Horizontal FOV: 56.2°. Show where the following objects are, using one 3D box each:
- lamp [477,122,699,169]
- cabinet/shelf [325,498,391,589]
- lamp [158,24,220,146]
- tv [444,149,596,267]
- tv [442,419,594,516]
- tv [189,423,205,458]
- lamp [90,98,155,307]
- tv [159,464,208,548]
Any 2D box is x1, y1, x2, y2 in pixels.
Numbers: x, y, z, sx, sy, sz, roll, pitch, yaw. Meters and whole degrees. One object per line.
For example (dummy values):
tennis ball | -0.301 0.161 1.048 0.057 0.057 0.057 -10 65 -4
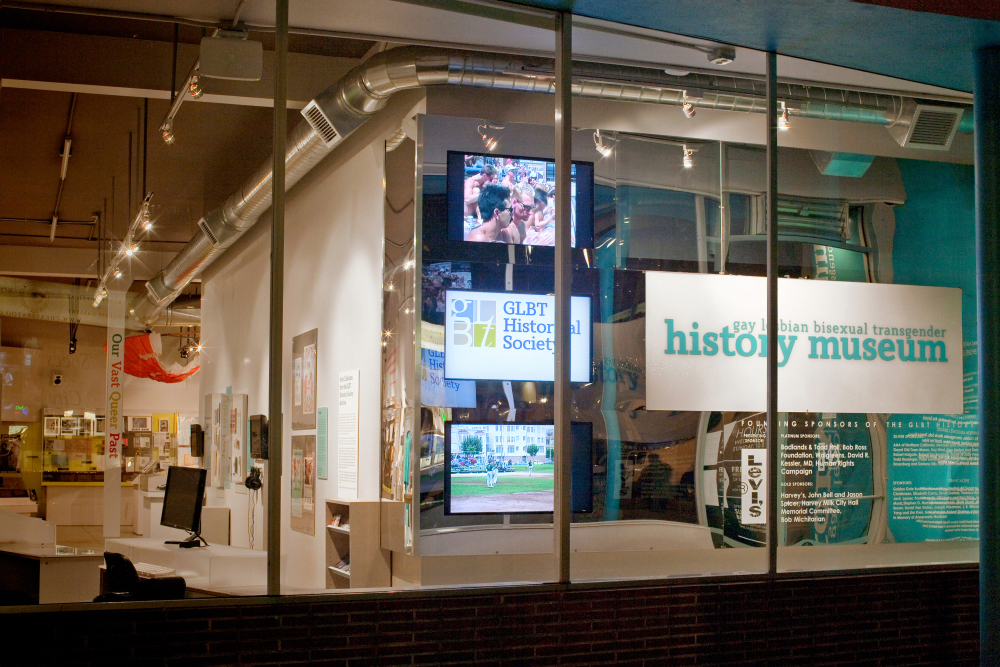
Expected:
lamp | 0.677 -1.537 7.513 1.764 0.475 0.293 -1 -8 12
cabinet/shelf | -1.239 1.883 8.266 0.256 0.764 0.771 3 -12 -19
lamp | -2.504 -2.038 7.530 0.248 0.911 0.368 23 23 -22
tv | 0.121 -1.000 7.519 0.994 0.597 0.014 0 3 -10
tv | 0.110 1.072 7.326 0.854 0.517 0.018 0 -5 -4
tv | -3.092 1.086 9.564 0.120 0.324 0.371 0 -4 -19
lamp | -3.121 -1.131 7.752 0.275 2.495 0.359 25 -61 -28
tv | -2.533 1.373 7.453 0.265 0.596 0.617 12 -19 -34
